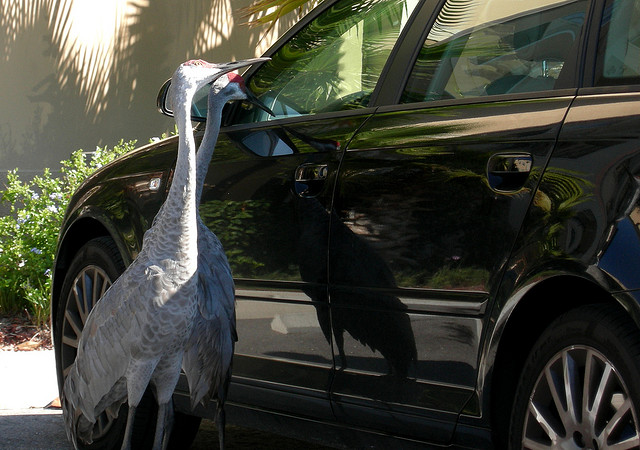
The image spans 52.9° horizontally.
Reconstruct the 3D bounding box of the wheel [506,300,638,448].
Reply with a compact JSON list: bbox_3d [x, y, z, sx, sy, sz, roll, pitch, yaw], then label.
[{"bbox_3d":[0.898,0.520,2.282,0.179,0.549,0.564,6,-8,-38],"label":"wheel"}]

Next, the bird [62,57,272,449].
[{"bbox_3d":[-0.757,0.147,2.715,0.664,1.667,0.375,6,6,32],"label":"bird"}]
